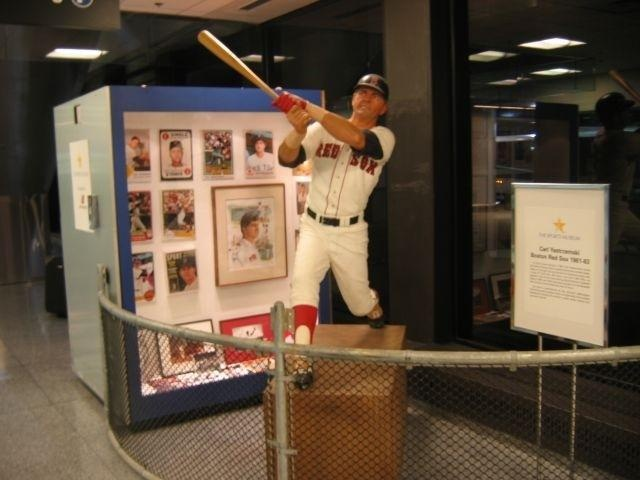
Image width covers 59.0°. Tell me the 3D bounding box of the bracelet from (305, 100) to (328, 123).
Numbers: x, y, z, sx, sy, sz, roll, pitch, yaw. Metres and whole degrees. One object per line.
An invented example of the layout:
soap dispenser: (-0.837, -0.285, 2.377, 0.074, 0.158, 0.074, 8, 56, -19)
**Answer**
bracelet: (-0.036, -0.811, 3.560, 0.134, 0.134, 0.168, -6, 10, -17)

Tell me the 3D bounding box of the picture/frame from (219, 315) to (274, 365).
picture/frame: (-0.532, 0.772, 4.206, 0.395, 0.306, 0.487, -5, 10, -13)
